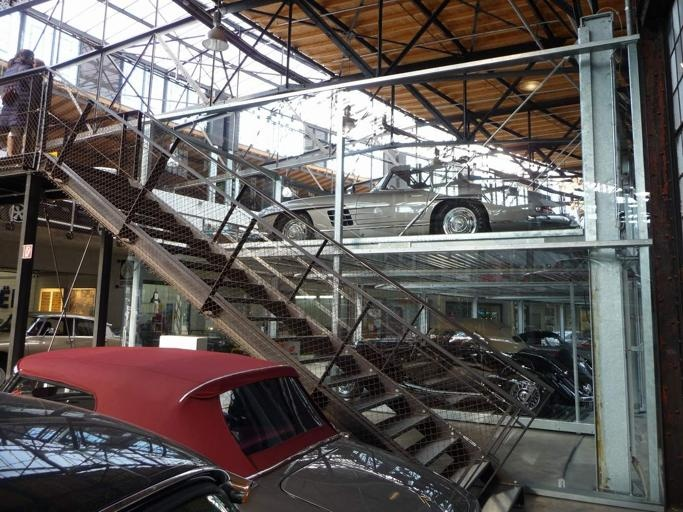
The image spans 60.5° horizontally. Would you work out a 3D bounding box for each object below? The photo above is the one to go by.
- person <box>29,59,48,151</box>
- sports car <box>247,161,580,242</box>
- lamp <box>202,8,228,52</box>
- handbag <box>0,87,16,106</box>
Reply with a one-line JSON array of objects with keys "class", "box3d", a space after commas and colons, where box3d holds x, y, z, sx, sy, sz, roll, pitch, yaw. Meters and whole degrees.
[{"class": "person", "box3d": [-4.349, -2.112, 8.345, 0.301, 1.181, 0.108, -8, -11, 36]}, {"class": "sports car", "box3d": [1.135, -0.794, 9.331, 4.285, 0.882, 1.609, 3, -1, 26]}, {"class": "lamp", "box3d": [-2.069, -3.810, 9.734, 0.408, 0.837, 0.399, 1, -9, -21]}, {"class": "handbag", "box3d": [-4.910, -2.358, 8.672, 0.245, 0.240, 0.064, 18, 1, 22]}]
